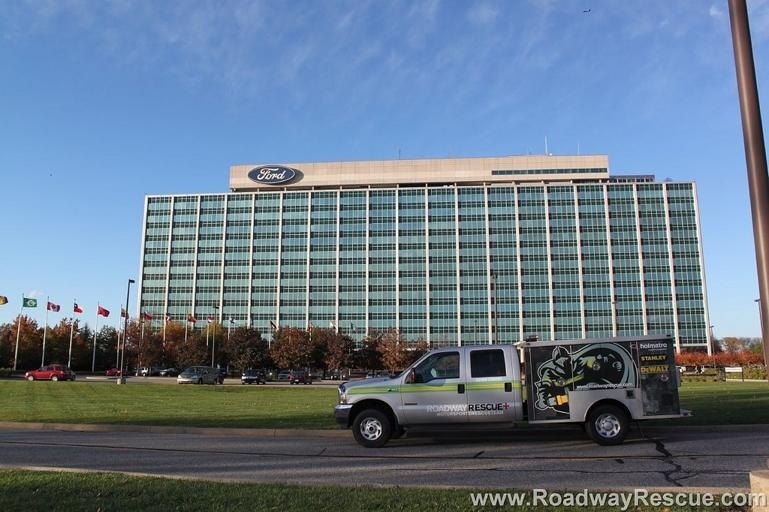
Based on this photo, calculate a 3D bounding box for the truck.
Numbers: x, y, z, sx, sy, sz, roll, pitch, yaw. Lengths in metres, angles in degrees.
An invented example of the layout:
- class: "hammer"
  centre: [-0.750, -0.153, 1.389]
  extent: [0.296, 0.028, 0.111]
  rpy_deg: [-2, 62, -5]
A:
- class: "truck"
  centre: [3.977, 4.175, 21.624]
  extent: [11.219, 3.164, 3.826]
  rpy_deg: [0, -12, 2]

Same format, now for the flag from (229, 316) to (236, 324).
- class: "flag"
  centre: [-27.763, 11.621, 126.565]
  extent: [1.076, 0.843, 0.975]
  rpy_deg: [-1, 3, -7]

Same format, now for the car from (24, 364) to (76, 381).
- class: "car"
  centre: [-28.028, 9.795, 58.108]
  extent: [3.886, 1.197, 2.488]
  rpy_deg: [-4, -5, 26]
